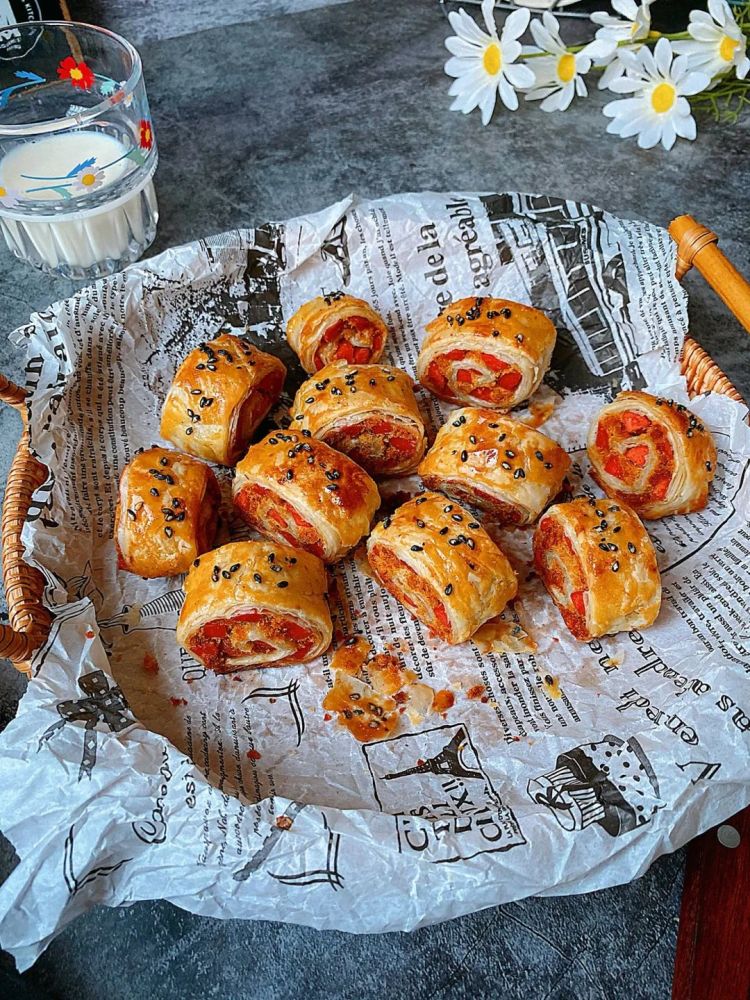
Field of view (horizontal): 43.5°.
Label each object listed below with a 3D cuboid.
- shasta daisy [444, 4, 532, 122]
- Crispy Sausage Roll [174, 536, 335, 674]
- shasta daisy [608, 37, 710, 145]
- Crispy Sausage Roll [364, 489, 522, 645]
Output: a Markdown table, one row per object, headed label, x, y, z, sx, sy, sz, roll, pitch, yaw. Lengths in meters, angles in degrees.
| label | x | y | z | sx | sy | sz | roll | pitch | yaw |
| --- | --- | --- | --- | --- | --- | --- | --- | --- | --- |
| shasta daisy | 0.430 | -1.726 | 3.609 | 0.365 | 0.473 | 0.222 | -4 | 37 | 10 |
| Crispy Sausage Roll | -0.315 | 0.268 | 2.481 | 0.443 | 0.269 | 0.334 | -1 | 36 | -5 |
| shasta daisy | 1.027 | -1.481 | 3.457 | 0.405 | 0.378 | 0.204 | 24 | 41 | 39 |
| Crispy Sausage Roll | 0.164 | 0.181 | 2.558 | 0.301 | 0.237 | 0.432 | -39 | 62 | -16 |
